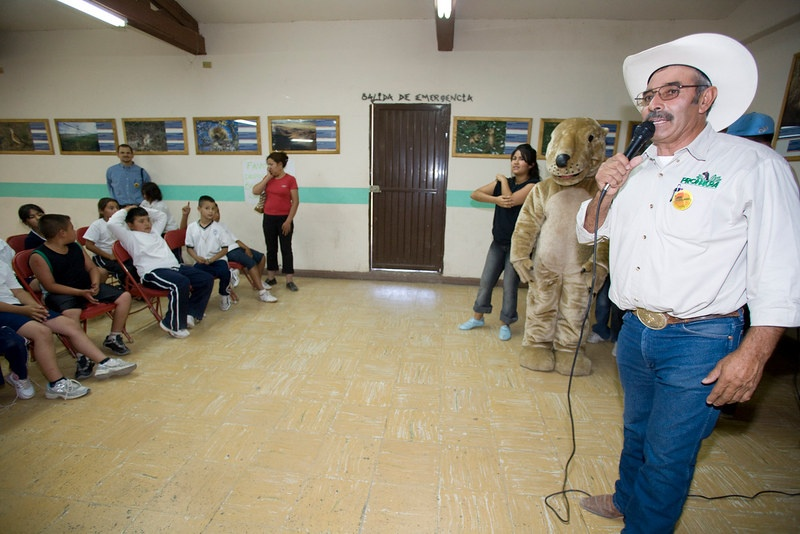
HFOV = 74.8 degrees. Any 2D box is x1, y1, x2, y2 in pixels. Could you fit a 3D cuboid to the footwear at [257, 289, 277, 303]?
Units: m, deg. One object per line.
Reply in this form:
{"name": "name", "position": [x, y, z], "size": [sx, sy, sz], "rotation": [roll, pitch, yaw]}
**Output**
{"name": "footwear", "position": [-1.582, 0.363, 6.273], "size": [0.269, 0.127, 0.107], "rotation": [10, 20, 11]}

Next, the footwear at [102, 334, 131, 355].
{"name": "footwear", "position": [-2.698, 0.747, 4.976], "size": [0.205, 0.143, 0.072], "rotation": [26, 16, -26]}

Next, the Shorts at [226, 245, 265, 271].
{"name": "Shorts", "position": [-1.873, -0.109, 6.232], "size": [0.262, 0.089, 0.275], "rotation": [16, 13, 0]}

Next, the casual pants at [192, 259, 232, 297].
{"name": "casual pants", "position": [-2.034, 0.122, 5.948], "size": [0.372, 0.383, 0.114], "rotation": [3, 10, -1]}

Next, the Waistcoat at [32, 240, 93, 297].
{"name": "Waistcoat", "position": [-3.055, 0.007, 4.816], "size": [0.267, 0.479, 0.354], "rotation": [-1, 17, 33]}

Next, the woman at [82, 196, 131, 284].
{"name": "woman", "position": [-3.460, -0.206, 5.882], "size": [0.590, 1.082, 0.491], "rotation": [3, 3, 15]}

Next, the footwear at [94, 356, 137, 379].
{"name": "footwear", "position": [-2.520, 0.899, 4.693], "size": [0.404, 0.198, 0.155], "rotation": [-5, 7, -20]}

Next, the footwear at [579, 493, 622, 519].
{"name": "footwear", "position": [1.386, 1.657, 3.612], "size": [0.310, 0.128, 0.113], "rotation": [7, 19, 15]}

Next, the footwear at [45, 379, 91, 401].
{"name": "footwear", "position": [-2.779, 1.023, 4.403], "size": [0.316, 0.148, 0.166], "rotation": [3, 2, -12]}

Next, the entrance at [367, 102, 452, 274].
{"name": "entrance", "position": [0.127, -1.034, 6.944], "size": [1.059, 2.197, 0.215], "rotation": [3, 14, 15]}

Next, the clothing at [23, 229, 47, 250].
{"name": "clothing", "position": [-3.425, -0.252, 4.916], "size": [0.114, 0.203, 0.208], "rotation": [2, 9, 5]}

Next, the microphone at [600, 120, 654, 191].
{"name": "microphone", "position": [1.415, -0.706, 3.262], "size": [0.104, 0.379, 0.107], "rotation": [28, 18, 4]}

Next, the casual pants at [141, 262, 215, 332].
{"name": "casual pants", "position": [-2.338, 0.310, 5.500], "size": [0.659, 0.634, 0.566], "rotation": [12, 14, 32]}

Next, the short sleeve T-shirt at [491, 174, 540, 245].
{"name": "short sleeve T-shirt", "position": [1.137, -0.550, 5.382], "size": [0.590, 0.608, 0.211], "rotation": [5, 0, 24]}

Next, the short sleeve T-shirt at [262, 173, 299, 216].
{"name": "short sleeve T-shirt", "position": [-1.495, -0.885, 6.497], "size": [0.491, 0.509, 0.277], "rotation": [4, 6, 12]}

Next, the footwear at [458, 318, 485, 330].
{"name": "footwear", "position": [0.765, 0.612, 5.615], "size": [0.317, 0.131, 0.108], "rotation": [-5, 14, -7]}

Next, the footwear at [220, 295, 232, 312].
{"name": "footwear", "position": [-2.001, 0.408, 6.019], "size": [0.081, 0.104, 0.238], "rotation": [-1, 14, -26]}

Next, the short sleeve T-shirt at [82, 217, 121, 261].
{"name": "short sleeve T-shirt", "position": [-3.264, -0.311, 5.769], "size": [0.177, 0.379, 0.435], "rotation": [17, 13, 14]}

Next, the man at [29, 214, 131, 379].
{"name": "man", "position": [-2.912, 0.198, 4.771], "size": [0.709, 1.384, 0.572], "rotation": [9, 19, 25]}
